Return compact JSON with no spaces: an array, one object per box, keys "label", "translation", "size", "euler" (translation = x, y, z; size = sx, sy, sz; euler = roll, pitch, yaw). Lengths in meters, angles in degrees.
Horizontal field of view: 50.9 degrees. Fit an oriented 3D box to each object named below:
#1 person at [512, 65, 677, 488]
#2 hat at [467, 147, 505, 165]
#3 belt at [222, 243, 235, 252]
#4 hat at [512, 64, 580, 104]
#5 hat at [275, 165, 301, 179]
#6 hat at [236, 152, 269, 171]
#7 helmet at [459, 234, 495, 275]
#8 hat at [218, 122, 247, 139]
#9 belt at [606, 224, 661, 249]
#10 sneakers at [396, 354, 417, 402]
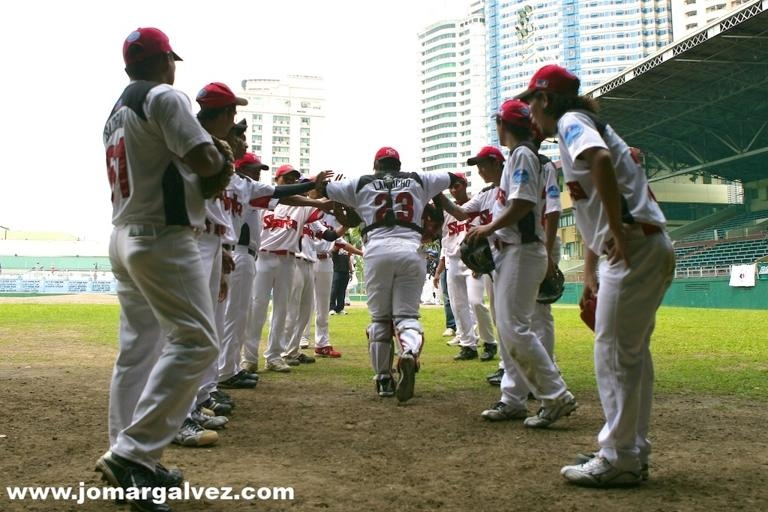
[{"label":"person","translation":[2.155,0.371,7.499],"size":[1.029,3.503,0.473],"euler":[1,2,16]},{"label":"hat","translation":[1.313,-1.274,10.244],"size":[0.454,0.208,0.256],"euler":[4,-1,-2]},{"label":"belt","translation":[-1.826,-0.094,9.534],"size":[0.081,0.082,0.084],"euler":[-1,39,8]},{"label":"hat","translation":[1.602,-1.696,7.926],"size":[0.505,0.248,0.302],"euler":[3,9,19]},{"label":"hat","translation":[-1.370,-1.209,11.355],"size":[0.330,0.161,0.223],"euler":[-15,-13,42]},{"label":"hat","translation":[-1.624,-1.183,10.105],"size":[0.448,0.215,0.293],"euler":[-2,-2,12]},{"label":"helmet","translation":[1.099,-0.007,9.204],"size":[0.437,0.308,0.223],"euler":[46,21,22]},{"label":"hat","translation":[-1.711,-1.450,9.340],"size":[0.317,0.092,0.178],"euler":[-28,21,-16]},{"label":"belt","translation":[2.338,-0.156,7.423],"size":[0.329,0.141,0.225],"euler":[-15,-11,13]},{"label":"sneakers","translation":[0.248,1.387,9.178],"size":[0.230,0.529,0.249],"euler":[1,3,-7]}]
